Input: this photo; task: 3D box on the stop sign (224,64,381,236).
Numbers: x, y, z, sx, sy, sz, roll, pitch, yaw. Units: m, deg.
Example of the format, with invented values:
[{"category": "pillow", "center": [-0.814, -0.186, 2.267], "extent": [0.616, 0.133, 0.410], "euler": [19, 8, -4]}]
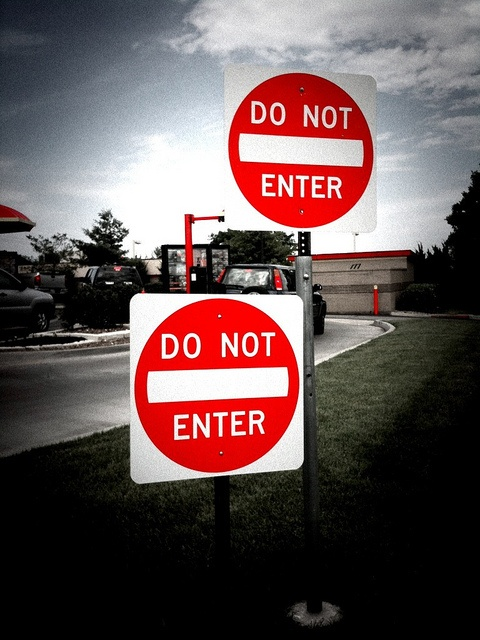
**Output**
[{"category": "stop sign", "center": [0.227, -0.641, 1.991], "extent": [0.566, 0.904, 0.049], "euler": [3, -31, 3]}]

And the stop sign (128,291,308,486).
[{"category": "stop sign", "center": [-0.074, 0.215, 1.722], "extent": [0.397, 0.661, 0.017], "euler": [-1, 1, -25]}]
